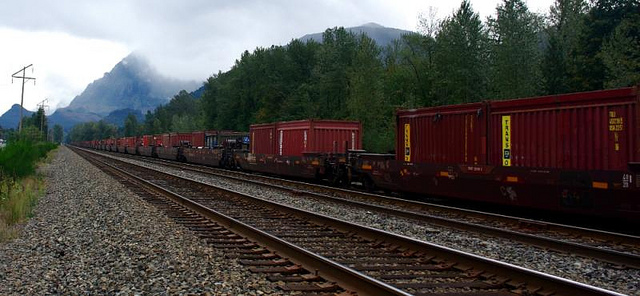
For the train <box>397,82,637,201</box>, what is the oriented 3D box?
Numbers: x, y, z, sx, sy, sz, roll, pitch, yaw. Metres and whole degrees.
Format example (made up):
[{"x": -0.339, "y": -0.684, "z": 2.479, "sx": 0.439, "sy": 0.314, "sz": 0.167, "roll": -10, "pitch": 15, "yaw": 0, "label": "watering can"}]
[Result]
[{"x": 11.603, "y": -0.236, "z": 23.808, "sx": 4.694, "sy": 4.318, "sz": 13.507, "roll": 1, "pitch": -1, "yaw": -43, "label": "train"}]
